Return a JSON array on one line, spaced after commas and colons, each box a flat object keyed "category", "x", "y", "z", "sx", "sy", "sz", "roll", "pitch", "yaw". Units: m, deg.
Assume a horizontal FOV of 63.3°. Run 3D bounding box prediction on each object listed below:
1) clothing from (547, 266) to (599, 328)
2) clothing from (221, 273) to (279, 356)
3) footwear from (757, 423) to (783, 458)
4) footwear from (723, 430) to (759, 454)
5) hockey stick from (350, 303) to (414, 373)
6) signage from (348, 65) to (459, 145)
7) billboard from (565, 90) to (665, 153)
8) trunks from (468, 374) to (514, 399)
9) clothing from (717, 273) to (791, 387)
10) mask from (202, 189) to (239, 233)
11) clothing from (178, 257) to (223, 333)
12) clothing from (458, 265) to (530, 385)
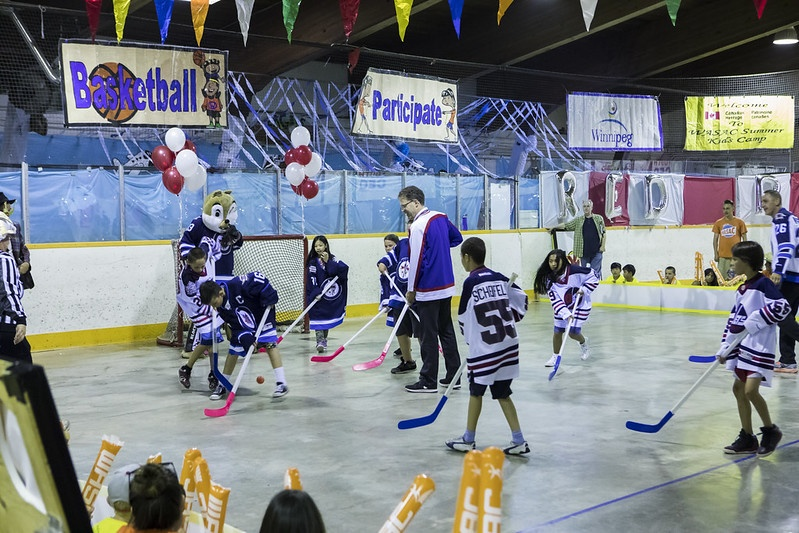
[{"category": "clothing", "x": 1.966, "y": 0.319, "z": 7.403, "sx": 0.258, "sy": 0.727, "sz": 0.566, "roll": 29, "pitch": 25, "yaw": 36}, {"category": "clothing", "x": -1.431, "y": 0.440, "z": 6.178, "sx": 0.545, "sy": 0.725, "sz": 0.388, "roll": -22, "pitch": -1, "yaw": 15}, {"category": "footwear", "x": 2.601, "y": 1.201, "z": 4.523, "sx": 0.248, "sy": 0.221, "sz": 0.103, "roll": -5, "pitch": 7, "yaw": -33}, {"category": "footwear", "x": 2.421, "y": 1.248, "z": 4.635, "sx": 0.307, "sy": 0.193, "sz": 0.114, "roll": 0, "pitch": 0, "yaw": 0}, {"category": "hockey stick", "x": -0.215, "y": 0.922, "z": 8.156, "sx": 0.173, "sy": 0.196, "sz": 1.298, "roll": 16, "pitch": 31, "yaw": 15}, {"category": "signage", "x": 0.349, "y": -2.709, "z": 11.204, "sx": 2.299, "sy": 1.236, "sz": 0.220, "roll": -10, "pitch": 21, "yaw": -40}, {"category": "billboard", "x": 4.597, "y": -3.084, "z": 13.824, "sx": 2.325, "sy": 1.168, "sz": 0.224, "roll": -3, "pitch": 6, "yaw": -20}, {"category": "trunks", "x": 0.646, "y": 0.786, "z": 4.607, "sx": 0.286, "sy": 0.227, "sz": 0.164, "roll": 2, "pitch": 4, "yaw": 1}, {"category": "clothing", "x": 2.491, "y": 0.457, "z": 4.552, "sx": 0.420, "sy": 0.802, "sz": 0.334, "roll": 2, "pitch": 7, "yaw": 31}, {"category": "mask", "x": -2.158, "y": -0.681, "z": 7.740, "sx": 0.440, "sy": 0.530, "sz": 0.410, "roll": -13, "pitch": 32, "yaw": -43}, {"category": "clothing", "x": -2.005, "y": 0.255, "z": 6.566, "sx": 0.267, "sy": 0.317, "sz": 0.871, "roll": -9, "pitch": -3, "yaw": -9}, {"category": "clothing", "x": 0.674, "y": 0.425, "z": 4.608, "sx": 0.498, "sy": 0.826, "sz": 0.322, "roll": -2, "pitch": 6, "yaw": -2}]
